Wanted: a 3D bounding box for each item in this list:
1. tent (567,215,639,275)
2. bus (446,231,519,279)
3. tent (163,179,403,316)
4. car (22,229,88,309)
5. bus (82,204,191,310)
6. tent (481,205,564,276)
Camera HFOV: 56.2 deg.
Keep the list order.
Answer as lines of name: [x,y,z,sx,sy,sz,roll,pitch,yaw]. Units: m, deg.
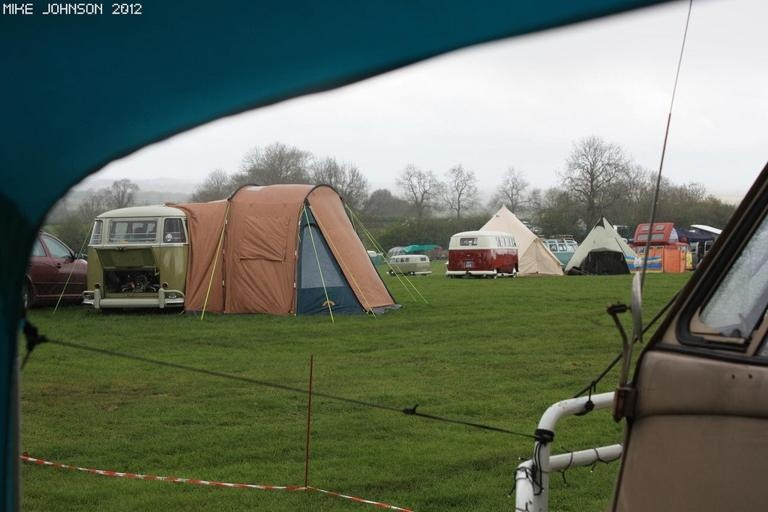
tent: [9.270,-0.371,30.690,2.542,2.472,0.994,1,4,18]
bus: [4.152,-0.103,28.750,1.471,1.343,2.746,1,3,26]
tent: [-2.073,-0.105,14.019,3.083,1.520,2.596,4,5,19]
car: [-6.574,0.325,14.521,1.036,1.509,1.866,-1,4,-22]
bus: [-4.702,0.109,15.649,2.223,2.253,3.618,0,-1,10]
tent: [5.898,-0.603,31.325,3.260,1.740,2.682,2,4,41]
